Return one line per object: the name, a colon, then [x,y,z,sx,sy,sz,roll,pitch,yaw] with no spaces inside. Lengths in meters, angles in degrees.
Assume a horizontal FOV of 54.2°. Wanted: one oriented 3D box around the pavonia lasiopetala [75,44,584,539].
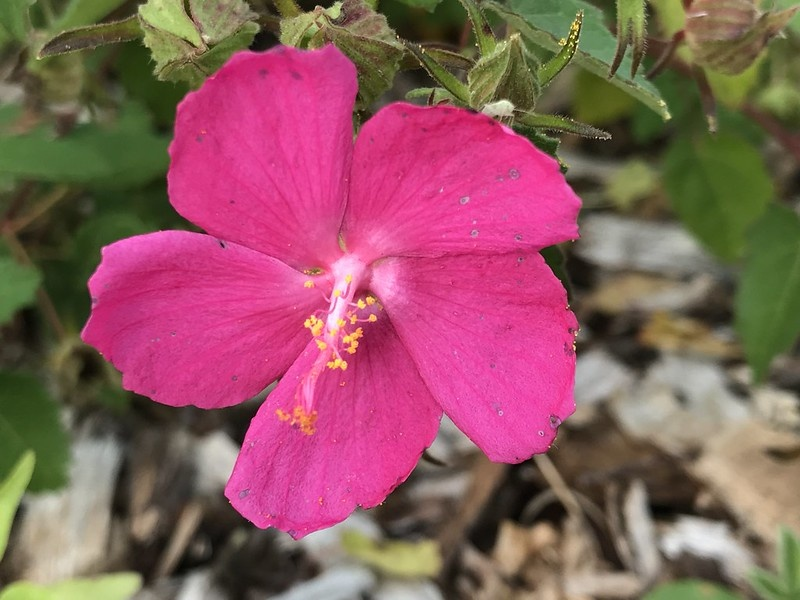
pavonia lasiopetala: [-0.037,-0.030,1.524,0.991,0.319,0.988,-1,-57,12]
